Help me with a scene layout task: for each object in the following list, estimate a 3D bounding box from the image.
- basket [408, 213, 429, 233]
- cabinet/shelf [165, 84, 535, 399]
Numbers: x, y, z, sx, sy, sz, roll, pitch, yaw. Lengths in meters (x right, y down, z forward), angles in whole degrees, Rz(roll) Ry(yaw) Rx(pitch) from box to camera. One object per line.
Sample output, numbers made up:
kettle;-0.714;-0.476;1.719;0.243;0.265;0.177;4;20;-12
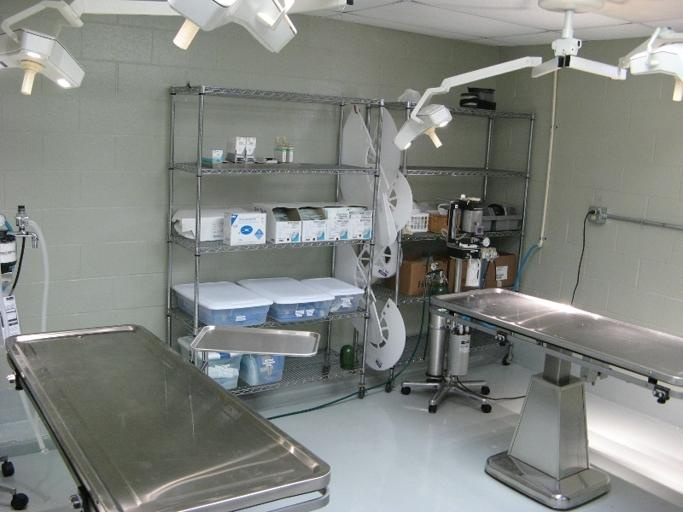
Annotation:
basket;0.618;-0.271;4.492;0.142;0.128;0.078;-6;28;-14
cabinet/shelf;-0.001;-0.108;4.002;2.536;2.053;0.827;-4;13;-28
